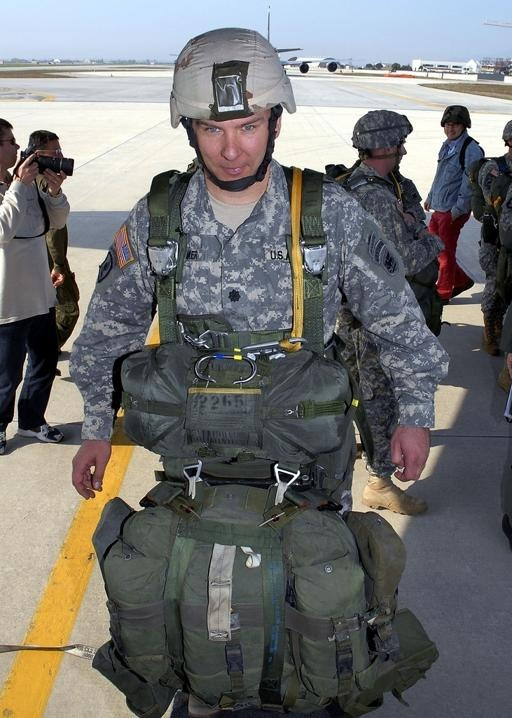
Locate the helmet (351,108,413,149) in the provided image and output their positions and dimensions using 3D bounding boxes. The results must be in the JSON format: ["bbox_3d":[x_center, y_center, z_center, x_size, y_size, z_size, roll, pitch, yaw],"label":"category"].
[{"bbox_3d":[0.639,-1.119,2.972,0.280,0.163,0.211,-31,46,-21],"label":"helmet"}]

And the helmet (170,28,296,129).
[{"bbox_3d":[-0.050,-0.666,1.382,0.298,0.209,0.238,-5,22,-7],"label":"helmet"}]

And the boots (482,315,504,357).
[{"bbox_3d":[1.755,-0.170,4.400,0.118,0.233,0.327,-1,53,8],"label":"boots"}]

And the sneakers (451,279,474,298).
[{"bbox_3d":[2.045,-0.713,5.923,0.172,0.230,0.531,4,22,17],"label":"sneakers"}]

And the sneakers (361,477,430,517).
[{"bbox_3d":[0.647,0.657,2.950,0.367,0.241,0.134,-2,32,5],"label":"sneakers"}]

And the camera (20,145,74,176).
[{"bbox_3d":[-1.150,-1.064,3.248,0.272,0.113,0.199,2,6,4],"label":"camera"}]

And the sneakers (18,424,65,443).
[{"bbox_3d":[-1.314,0.442,3.600,0.283,0.105,0.108,4,38,4],"label":"sneakers"}]

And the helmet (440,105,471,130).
[{"bbox_3d":[1.963,-2.397,5.969,0.319,0.292,0.340,8,14,23],"label":"helmet"}]
